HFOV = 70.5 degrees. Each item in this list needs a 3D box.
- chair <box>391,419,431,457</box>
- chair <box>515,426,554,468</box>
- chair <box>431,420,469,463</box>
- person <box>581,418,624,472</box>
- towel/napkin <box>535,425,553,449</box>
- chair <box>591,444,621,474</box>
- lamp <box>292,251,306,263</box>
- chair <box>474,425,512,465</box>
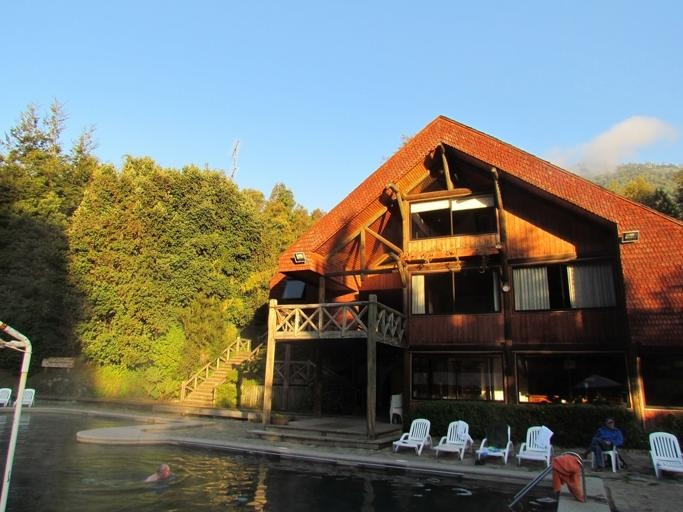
[{"bbox_3d":[3.055,7.370,19.702,1.072,1.331,1.592,-5,-16,26],"label":"chair"},{"bbox_3d":[7.121,7.000,17.728,1.144,1.340,1.733,-4,-16,22],"label":"chair"},{"bbox_3d":[4.429,7.106,18.634,1.038,1.124,1.570,-3,-8,23],"label":"chair"},{"bbox_3d":[9.896,7.206,18.269,1.022,1.729,1.022,42,-37,-5],"label":"person"},{"bbox_3d":[7.625,6.864,18.018,0.652,0.860,0.638,-13,-59,31],"label":"towel/napkin"},{"bbox_3d":[9.766,7.540,17.865,0.851,0.898,0.912,-4,-18,19],"label":"chair"},{"bbox_3d":[-2.126,0.077,24.581,0.515,0.560,0.208,1,-6,22],"label":"lamp"},{"bbox_3d":[5.664,6.990,17.749,1.094,1.368,1.493,-7,-12,21],"label":"chair"}]
